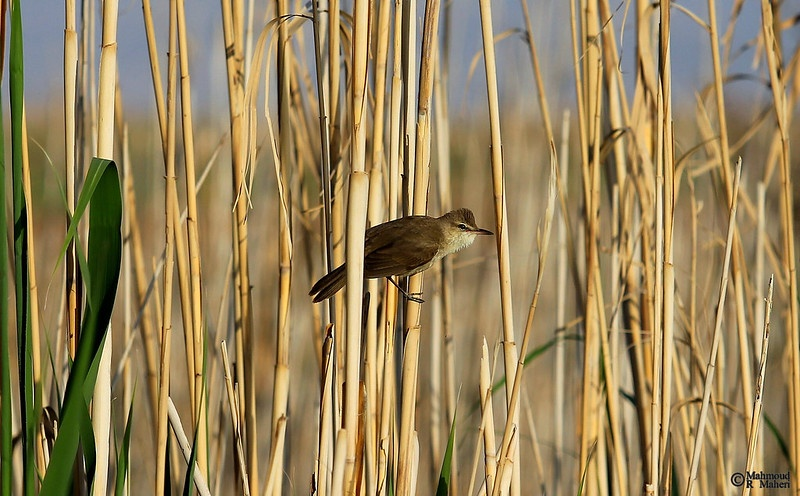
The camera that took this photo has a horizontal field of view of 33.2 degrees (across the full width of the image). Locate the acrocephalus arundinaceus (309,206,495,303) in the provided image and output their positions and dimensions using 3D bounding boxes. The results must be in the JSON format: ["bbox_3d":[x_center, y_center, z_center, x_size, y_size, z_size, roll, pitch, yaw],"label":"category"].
[{"bbox_3d":[0.002,0.028,8.177,1.061,0.561,0.371,0,21,-14],"label":"acrocephalus arundinaceus"}]
